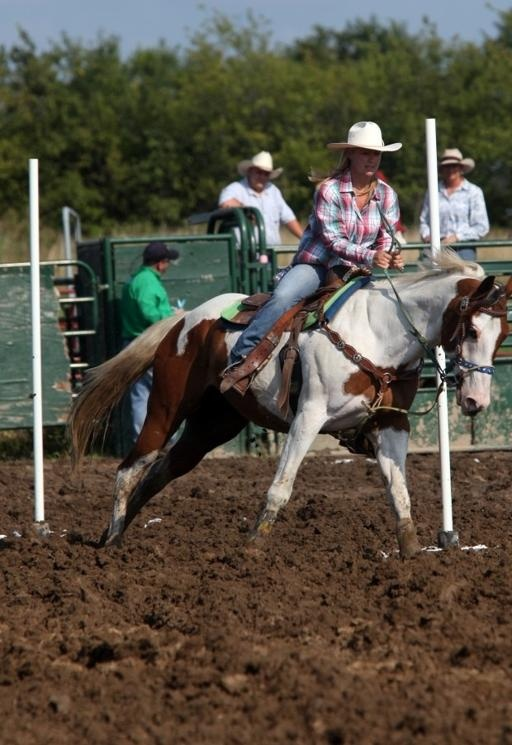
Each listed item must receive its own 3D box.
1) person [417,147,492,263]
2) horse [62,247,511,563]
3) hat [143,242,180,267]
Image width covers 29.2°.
[{"bbox_3d":[1.810,-1.391,9.269,0.659,1.280,0.611,2,5,33],"label":"person"},{"bbox_3d":[0.138,0.170,5.170,2.514,1.520,0.726,-1,3,30],"label":"horse"},{"bbox_3d":[-0.730,-0.952,7.836,0.313,0.156,0.177,-9,42,-13],"label":"hat"}]
